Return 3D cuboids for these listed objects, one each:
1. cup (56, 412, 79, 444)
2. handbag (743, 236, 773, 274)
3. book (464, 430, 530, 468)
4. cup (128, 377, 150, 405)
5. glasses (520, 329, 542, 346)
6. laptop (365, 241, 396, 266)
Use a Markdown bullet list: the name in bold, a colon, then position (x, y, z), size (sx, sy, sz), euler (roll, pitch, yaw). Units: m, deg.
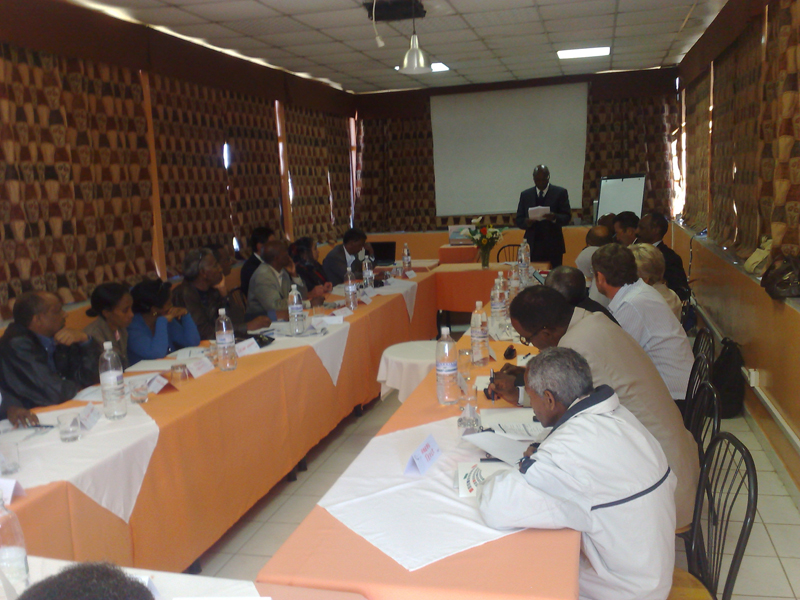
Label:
- **cup**: position (-1.614, 0.625, 2.945), size (0.104, 0.135, 0.112), euler (1, 2, 0)
- **handbag**: position (2.741, -0.329, 4.616), size (0.087, 0.304, 0.225), euler (29, 1, -20)
- **book**: position (0.440, 0.623, 2.589), size (0.141, 0.053, 0.141), euler (-1, 11, -43)
- **cup**: position (-1.437, 0.495, 3.328), size (0.103, 0.114, 0.133), euler (-1, -3, -2)
- **glasses**: position (0.643, 0.179, 2.953), size (0.072, 0.112, 0.040), euler (18, 42, 23)
- **laptop**: position (-0.260, -0.662, 8.584), size (0.516, 0.415, 0.301), euler (2, 10, 2)
